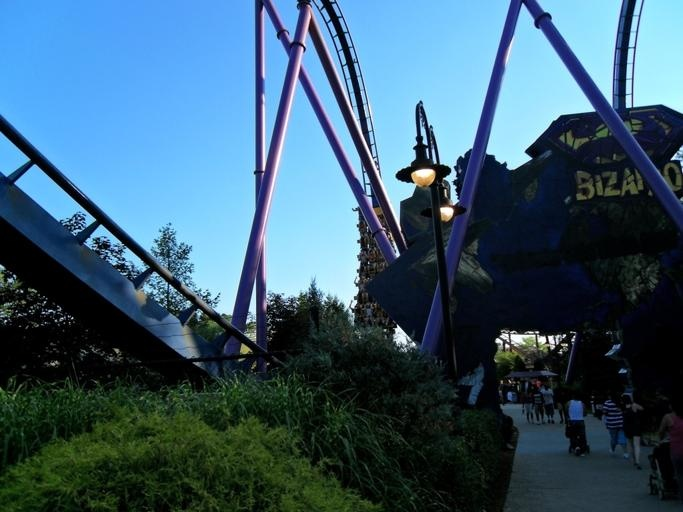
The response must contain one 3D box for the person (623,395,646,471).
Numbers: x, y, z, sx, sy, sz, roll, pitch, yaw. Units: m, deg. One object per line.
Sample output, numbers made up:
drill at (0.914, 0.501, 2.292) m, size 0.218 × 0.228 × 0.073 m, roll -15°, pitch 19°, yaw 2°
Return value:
person at (6.175, 3.637, 10.526) m, size 0.400 × 1.625 × 1.480 m, roll -7°, pitch -27°, yaw 29°
